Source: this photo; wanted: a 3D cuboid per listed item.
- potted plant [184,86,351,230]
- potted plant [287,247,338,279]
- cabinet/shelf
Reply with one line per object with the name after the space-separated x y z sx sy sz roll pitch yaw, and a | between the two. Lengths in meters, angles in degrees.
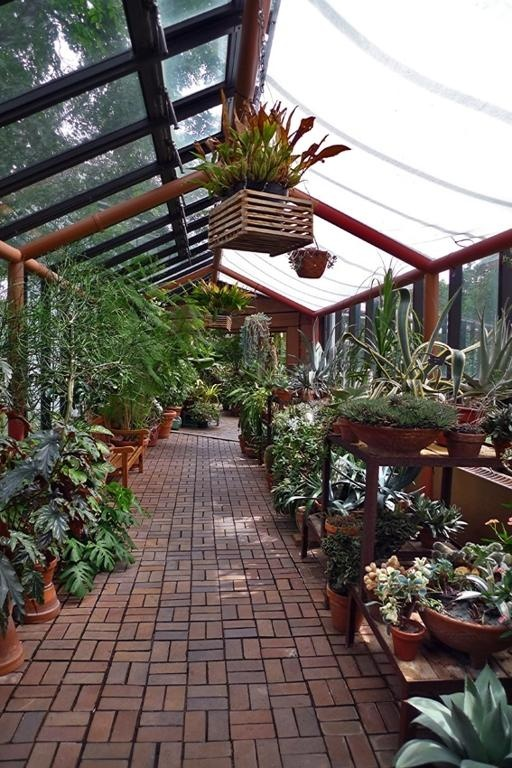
0.025 -1.100 2.764 0.830 0.659 0.972 10 16 -4 | potted plant
0.499 -1.030 4.507 0.356 0.257 0.366 -1 3 9 | potted plant
0.662 1.104 1.924 0.449 0.395 0.612 1 2 -6 | cabinet/shelf
